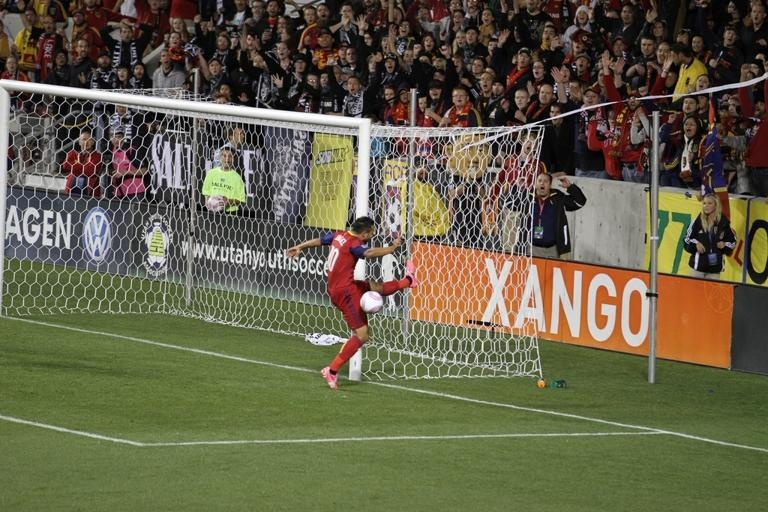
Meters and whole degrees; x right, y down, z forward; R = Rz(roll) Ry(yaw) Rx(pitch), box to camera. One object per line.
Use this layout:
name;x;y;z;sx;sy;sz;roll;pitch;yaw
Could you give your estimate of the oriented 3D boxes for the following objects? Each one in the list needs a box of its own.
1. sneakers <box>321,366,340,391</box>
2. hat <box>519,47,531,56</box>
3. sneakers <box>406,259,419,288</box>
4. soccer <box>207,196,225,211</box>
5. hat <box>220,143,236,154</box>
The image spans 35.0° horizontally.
sneakers;-0.719;1.601;16.305;0.184;0.369;0.142;-22;13;3
hat;2.530;-3.706;22.021;0.142;0.109;0.144;12;6;21
sneakers;0.361;0.238;16.530;0.131;0.365;0.160;-7;-10;31
soccer;-2.856;-0.900;20.782;0.248;0.148;0.254;-13;28;-26
hat;-2.742;-1.910;21.552;0.220;0.098;0.220;3;-10;30
